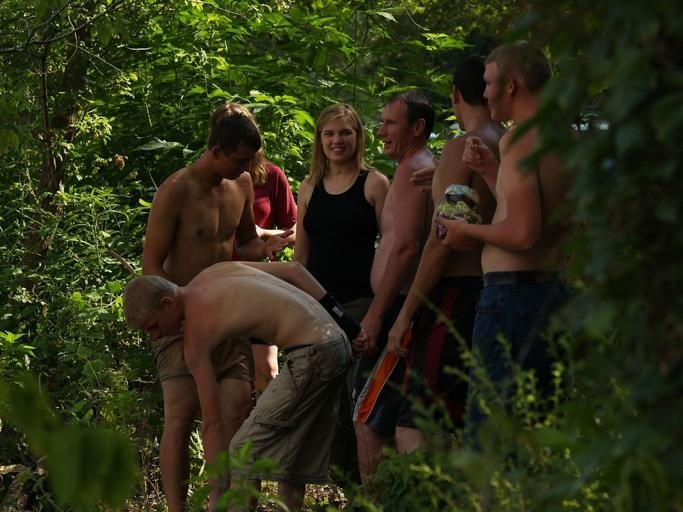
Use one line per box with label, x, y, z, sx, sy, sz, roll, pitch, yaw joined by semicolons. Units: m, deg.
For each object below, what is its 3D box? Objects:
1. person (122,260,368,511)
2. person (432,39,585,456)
person;-0.526;0.670;3.946;1.319;1.729;0.792;-10;-12;15
person;0.607;-0.117;2.638;0.472;1.516;1.521;1;-19;9
